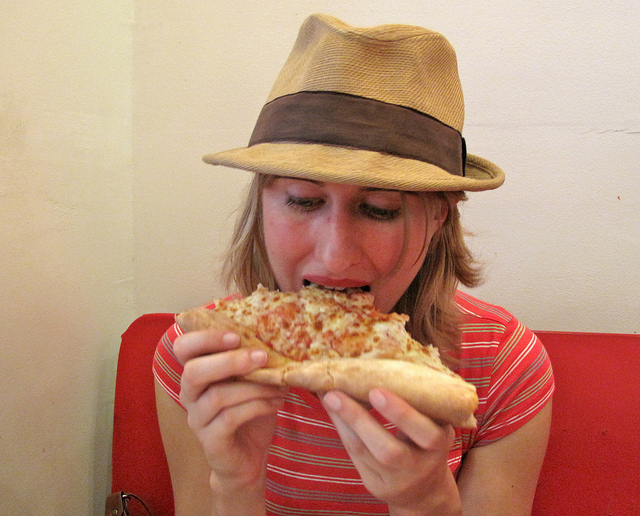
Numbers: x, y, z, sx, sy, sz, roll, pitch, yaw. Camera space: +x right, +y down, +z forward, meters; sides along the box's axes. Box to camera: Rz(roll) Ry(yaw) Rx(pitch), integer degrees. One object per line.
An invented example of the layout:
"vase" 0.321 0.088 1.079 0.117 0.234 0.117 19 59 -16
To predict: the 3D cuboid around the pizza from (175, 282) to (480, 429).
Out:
"pizza" 0.075 0.310 2.121 1.068 0.171 0.539 9 33 5
